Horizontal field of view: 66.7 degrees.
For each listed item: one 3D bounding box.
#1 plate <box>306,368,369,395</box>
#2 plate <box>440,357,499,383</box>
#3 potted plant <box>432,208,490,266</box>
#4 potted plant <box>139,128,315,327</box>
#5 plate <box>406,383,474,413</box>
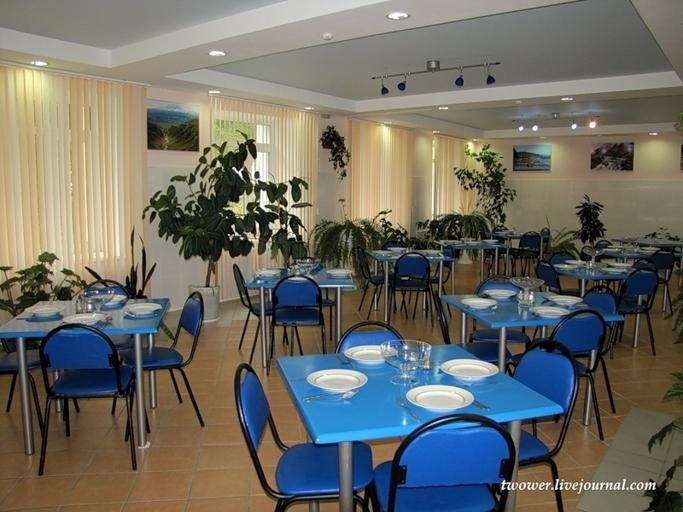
[{"bbox_3d":[-0.024,0.683,2.821,0.288,0.042,0.295,-8,14,-35],"label":"plate"},{"bbox_3d":[0.716,0.647,2.957,0.295,0.049,0.295,-10,16,-42],"label":"plate"},{"bbox_3d":[2.432,-0.417,11.044,1.166,0.656,1.154,-1,4,-3],"label":"potted plant"},{"bbox_3d":[-1.472,-0.521,7.043,2.245,2.574,2.175,1,16,-1],"label":"potted plant"},{"bbox_3d":[0.499,0.729,2.657,0.310,0.041,0.250,-6,13,-29],"label":"plate"}]
